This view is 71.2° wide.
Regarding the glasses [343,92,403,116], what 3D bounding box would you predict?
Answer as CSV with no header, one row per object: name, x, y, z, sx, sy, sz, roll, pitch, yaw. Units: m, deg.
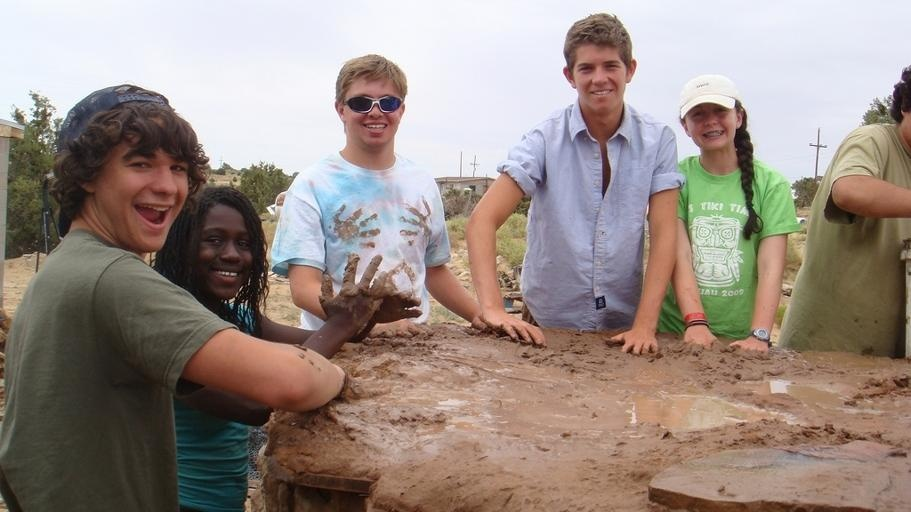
glasses,-0.507,-0.939,3.981,0.359,0.118,0.099,-3,9,-9

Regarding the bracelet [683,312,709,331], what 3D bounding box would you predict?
bracelet,1.613,0.441,4.261,0.126,0.078,0.121,-1,-3,19

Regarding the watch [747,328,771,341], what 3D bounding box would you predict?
watch,2.004,0.518,4.176,0.127,0.068,0.114,6,-13,-12
